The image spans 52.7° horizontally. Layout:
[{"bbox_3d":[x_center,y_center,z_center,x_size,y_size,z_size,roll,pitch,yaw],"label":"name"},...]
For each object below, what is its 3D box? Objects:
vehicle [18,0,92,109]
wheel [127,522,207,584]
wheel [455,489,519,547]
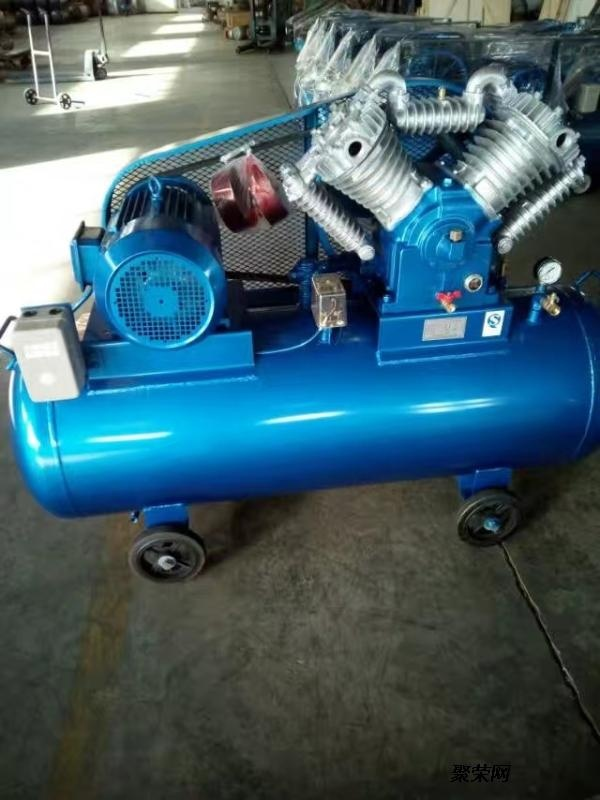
[{"bbox_3d":[-2.841,-3.813,6.742,0.199,0.966,0.547,18,28,32],"label":"vehicle"},{"bbox_3d":[-0.377,0.446,1.717,0.211,0.204,0.066,-2,29,-10],"label":"wheel"},{"bbox_3d":[0.562,0.359,1.820,0.154,0.165,0.118,-5,35,-3],"label":"wheel"}]
